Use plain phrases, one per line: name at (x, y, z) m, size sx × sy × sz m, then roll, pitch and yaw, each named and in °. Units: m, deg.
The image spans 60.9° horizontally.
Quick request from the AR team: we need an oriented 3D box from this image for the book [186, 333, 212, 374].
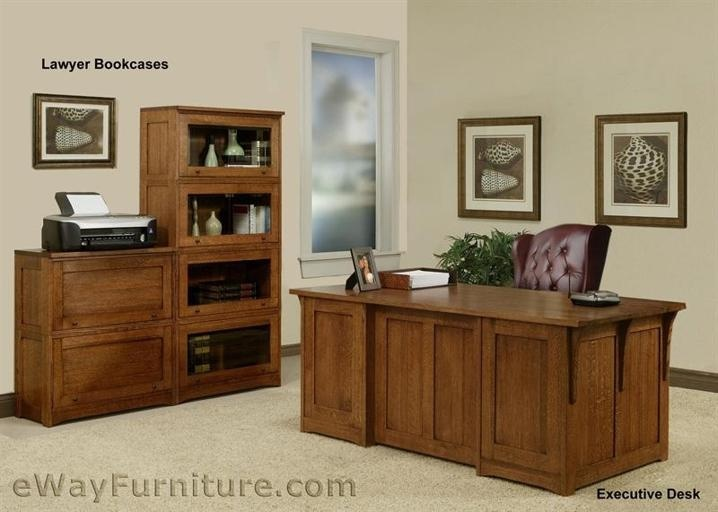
book at (-1.356, 0.834, 5.224) m, size 0.187 × 0.333 × 0.014 m, roll -3°, pitch 4°, yaw -36°
